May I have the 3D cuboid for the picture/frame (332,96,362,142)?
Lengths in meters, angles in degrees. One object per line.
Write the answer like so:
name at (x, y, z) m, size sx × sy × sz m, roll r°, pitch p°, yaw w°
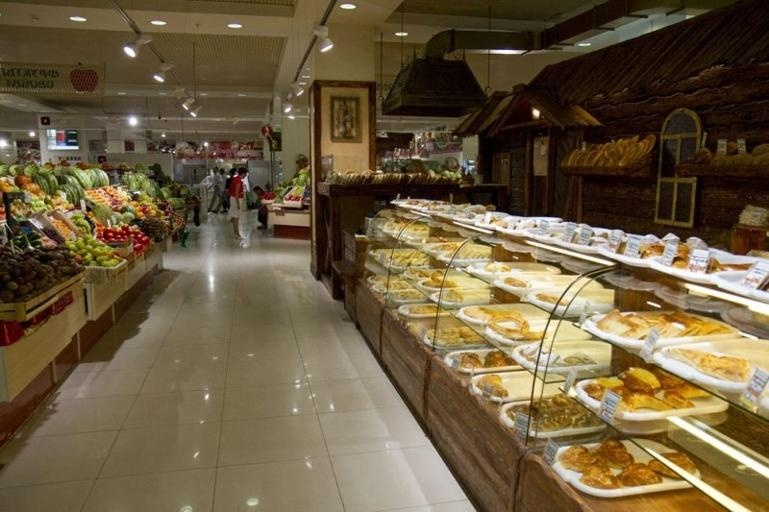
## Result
picture/frame at (-0.620, -2.159, 7.555) m, size 0.468 × 0.692 × 0.083 m, roll -1°, pitch 16°, yaw -5°

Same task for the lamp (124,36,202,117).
lamp at (-5.358, -4.367, 11.560) m, size 1.697 × 2.142 × 1.064 m, roll 1°, pitch 10°, yaw -10°

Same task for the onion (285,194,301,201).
onion at (-2.467, -1.534, 12.742) m, size 0.565 × 0.122 × 0.175 m, roll 8°, pitch 16°, yaw 30°
